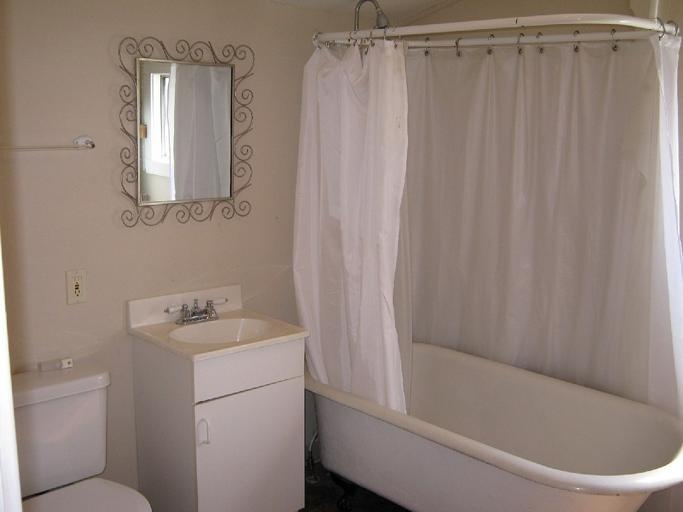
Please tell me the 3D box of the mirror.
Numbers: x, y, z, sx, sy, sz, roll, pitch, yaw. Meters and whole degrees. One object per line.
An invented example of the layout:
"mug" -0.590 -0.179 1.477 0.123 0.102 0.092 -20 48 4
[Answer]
"mirror" -0.839 -0.658 2.866 0.899 1.278 0.046 -5 11 -33

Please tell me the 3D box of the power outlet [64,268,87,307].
"power outlet" -1.274 0.147 2.655 0.102 0.159 0.023 -9 13 -31

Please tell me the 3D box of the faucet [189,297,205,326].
"faucet" -0.756 0.287 2.911 0.091 0.101 0.109 -5 12 -15
